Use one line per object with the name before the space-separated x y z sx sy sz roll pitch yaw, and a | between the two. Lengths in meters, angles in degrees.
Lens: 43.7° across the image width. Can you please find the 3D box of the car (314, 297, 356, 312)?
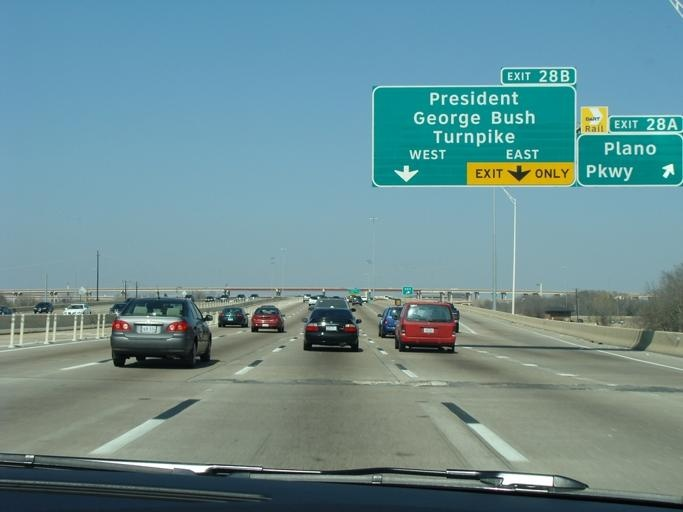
car | -0.454 2.904 50.221 1.655 0.977 2.428 0 -8 -3

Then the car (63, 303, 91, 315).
car | -21.658 4.357 69.995 1.649 0.823 3.167 -3 -11 1
